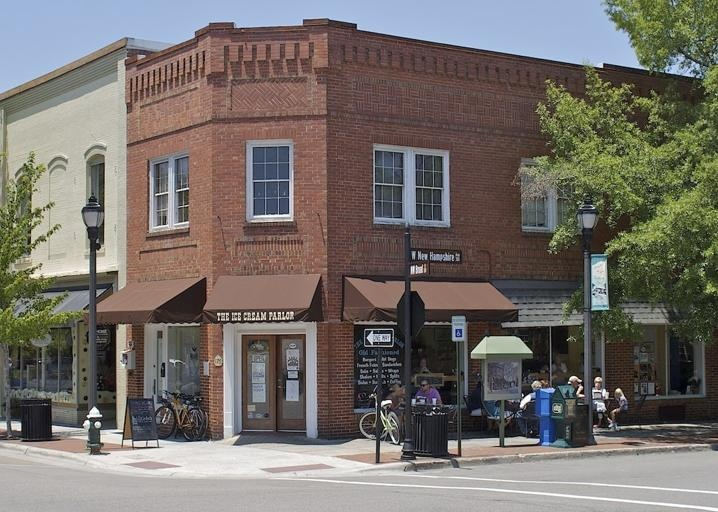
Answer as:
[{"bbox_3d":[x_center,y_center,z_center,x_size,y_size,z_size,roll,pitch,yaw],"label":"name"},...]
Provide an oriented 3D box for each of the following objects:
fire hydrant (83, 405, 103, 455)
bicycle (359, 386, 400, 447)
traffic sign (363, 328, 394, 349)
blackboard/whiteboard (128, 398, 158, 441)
[{"bbox_3d":[-7.628,4.944,36.080,0.504,1.407,1.116,1,-14,-12],"label":"fire hydrant"},{"bbox_3d":[0.669,4.781,37.871,0.802,1.752,1.407,9,-17,-39],"label":"bicycle"},{"bbox_3d":[0.542,2.155,34.473,0.731,0.578,0.635,-2,-14,2],"label":"traffic sign"},{"bbox_3d":[-6.372,4.754,36.926,0.820,1.301,0.751,-2,-14,-17],"label":"blackboard/whiteboard"}]
